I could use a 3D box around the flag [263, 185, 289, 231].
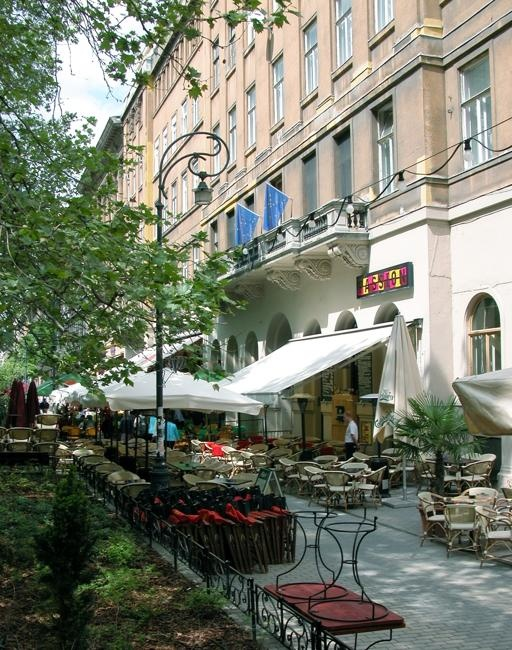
[{"bbox_3d":[0.643,-4.049,23.176,0.499,1.627,1.276,5,-9,-18],"label":"flag"}]
